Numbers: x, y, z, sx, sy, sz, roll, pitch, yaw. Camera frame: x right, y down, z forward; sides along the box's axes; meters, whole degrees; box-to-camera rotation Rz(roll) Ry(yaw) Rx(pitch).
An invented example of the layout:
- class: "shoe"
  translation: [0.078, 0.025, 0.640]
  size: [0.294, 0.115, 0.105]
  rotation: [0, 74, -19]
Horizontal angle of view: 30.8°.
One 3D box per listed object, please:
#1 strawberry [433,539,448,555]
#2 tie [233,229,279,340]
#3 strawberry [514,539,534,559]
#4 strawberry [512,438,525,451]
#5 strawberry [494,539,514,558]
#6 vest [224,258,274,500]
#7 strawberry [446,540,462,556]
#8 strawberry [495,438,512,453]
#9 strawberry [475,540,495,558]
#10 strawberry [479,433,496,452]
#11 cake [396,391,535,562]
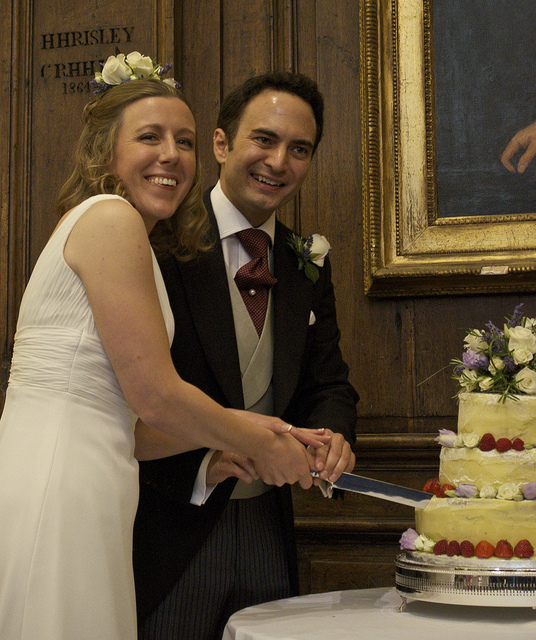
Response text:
- class: "strawberry"
  translation: [0.407, 0.539, 2.298]
  size: [0.034, 0.022, 0.026]
  rotation: [-37, -8, 37]
- class: "tie"
  translation: [-0.048, -0.095, 2.750]
  size: [0.119, 0.351, 0.040]
  rotation: [-8, 34, 10]
- class: "strawberry"
  translation: [0.580, 0.522, 2.209]
  size: [0.034, 0.040, 0.032]
  rotation: [-1, 8, -2]
- class: "strawberry"
  translation: [0.593, 0.297, 2.312]
  size: [0.022, 0.022, 0.028]
  rotation: [-14, -7, 2]
- class: "strawberry"
  translation: [0.537, 0.526, 2.219]
  size: [0.038, 0.038, 0.034]
  rotation: [-4, 10, -9]
- class: "vest"
  translation: [-0.045, 0.055, 2.721]
  size: [0.126, 0.423, 0.203]
  rotation: [-2, 2, 0]
- class: "strawberry"
  translation: [0.430, 0.535, 2.273]
  size: [0.029, 0.033, 0.027]
  rotation: [-3, 2, -10]
- class: "strawberry"
  translation: [0.557, 0.298, 2.311]
  size: [0.037, 0.029, 0.029]
  rotation: [-3, -1, -3]
- class: "strawberry"
  translation: [0.496, 0.528, 2.235]
  size: [0.044, 0.033, 0.041]
  rotation: [-2, 2, 11]
- class: "strawberry"
  translation: [0.525, 0.293, 2.336]
  size: [0.039, 0.052, 0.041]
  rotation: [-5, -14, 41]
- class: "cake"
  translation: [0.502, 0.365, 2.339]
  size: [0.395, 0.316, 0.366]
  rotation: [15, -11, -33]
